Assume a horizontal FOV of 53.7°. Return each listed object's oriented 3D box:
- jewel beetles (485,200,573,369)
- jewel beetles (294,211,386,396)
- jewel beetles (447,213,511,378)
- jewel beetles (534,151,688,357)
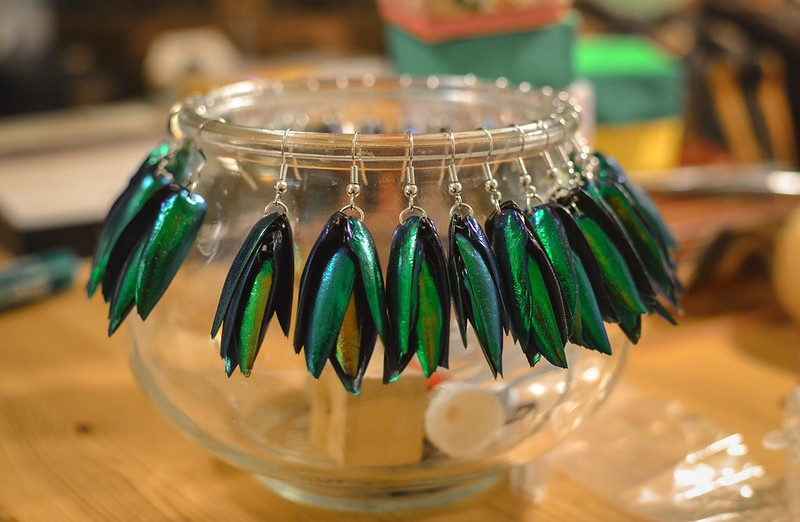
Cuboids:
[{"bbox_3d":[0.080,0.018,0.477,0.035,0.109,0.039,-19,-3,5],"label":"jewel beetles"},{"bbox_3d":[-0.031,0.028,0.471,0.055,0.077,0.077,12,40,19],"label":"jewel beetles"},{"bbox_3d":[0.055,0.024,0.498,0.031,0.100,0.031,-10,6,17],"label":"jewel beetles"},{"bbox_3d":[0.129,0.009,0.549,0.048,0.134,0.089,-36,12,43],"label":"jewel beetles"}]
